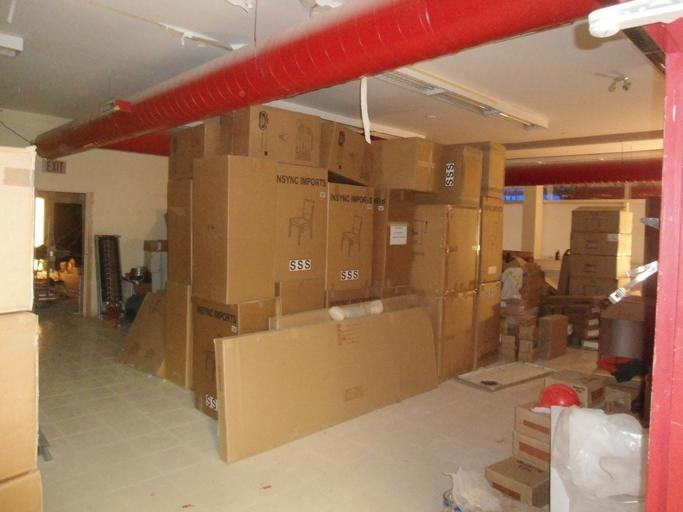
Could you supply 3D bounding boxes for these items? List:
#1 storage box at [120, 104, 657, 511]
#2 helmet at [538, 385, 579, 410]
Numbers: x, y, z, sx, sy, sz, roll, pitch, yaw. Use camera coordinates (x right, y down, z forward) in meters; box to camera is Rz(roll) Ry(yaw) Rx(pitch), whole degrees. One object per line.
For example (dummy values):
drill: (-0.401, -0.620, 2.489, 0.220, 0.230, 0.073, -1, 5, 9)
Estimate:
storage box: (0.036, -0.030, 4.935, 3.103, 2.570, 1.096, -5, 11, -30)
helmet: (1.374, 0.912, 3.272, 0.205, 0.159, 0.252, 2, 10, 4)
